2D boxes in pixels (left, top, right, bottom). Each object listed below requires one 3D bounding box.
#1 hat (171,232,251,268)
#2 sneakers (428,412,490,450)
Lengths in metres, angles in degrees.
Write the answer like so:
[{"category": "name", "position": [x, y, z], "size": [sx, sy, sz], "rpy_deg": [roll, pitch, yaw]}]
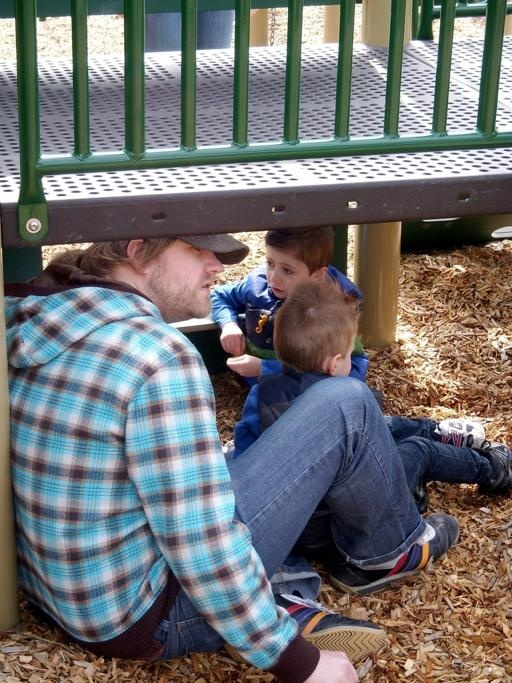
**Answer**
[{"category": "hat", "position": [-0.085, -0.201, 1.313], "size": [0.128, 0.031, 0.074], "rpy_deg": [15, -9, 36]}, {"category": "sneakers", "position": [0.677, 0.289, 2.053], "size": [0.136, 0.104, 0.099], "rpy_deg": [-2, 21, -12]}]
